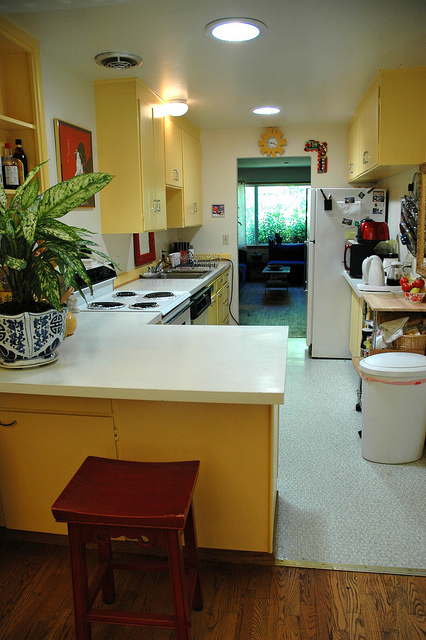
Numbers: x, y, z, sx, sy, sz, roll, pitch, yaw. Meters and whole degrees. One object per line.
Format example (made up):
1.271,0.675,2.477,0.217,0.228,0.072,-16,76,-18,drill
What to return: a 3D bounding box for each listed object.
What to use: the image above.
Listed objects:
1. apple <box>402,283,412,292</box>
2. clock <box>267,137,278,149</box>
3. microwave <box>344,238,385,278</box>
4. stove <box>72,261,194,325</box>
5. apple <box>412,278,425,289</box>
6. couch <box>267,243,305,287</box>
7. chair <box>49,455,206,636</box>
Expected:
1.165,-0.198,2.751,0.045,0.047,0.047,4,16,17,apple
0.626,-1.876,4.858,0.114,0.115,0.015,1,9,11,clock
1.273,-0.554,3.853,0.270,0.280,0.384,1,12,11,microwave
-0.484,-0.138,2.939,0.628,0.428,0.855,0,9,2,stove
1.230,-0.225,2.754,0.064,0.066,0.063,-14,28,-42,apple
1.520,-1.109,9.388,0.841,0.889,0.508,2,12,12,couch
-0.231,0.627,1.269,0.378,0.591,0.395,0,19,0,chair
